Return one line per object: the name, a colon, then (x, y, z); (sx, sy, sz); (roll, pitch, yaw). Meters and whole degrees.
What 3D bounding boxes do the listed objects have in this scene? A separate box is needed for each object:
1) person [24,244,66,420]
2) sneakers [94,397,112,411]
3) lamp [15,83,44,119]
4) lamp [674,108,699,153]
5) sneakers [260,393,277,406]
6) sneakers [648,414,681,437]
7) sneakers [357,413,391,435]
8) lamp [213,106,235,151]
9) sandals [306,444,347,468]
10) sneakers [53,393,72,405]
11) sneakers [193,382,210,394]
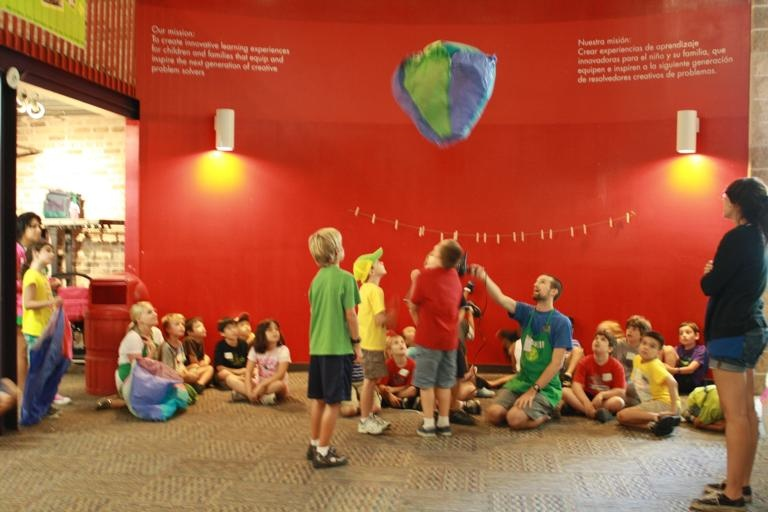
person: (-3.428, 0.712, 6.133); (0.366, 1.727, 0.677); (-7, 13, -31)
sneakers: (-2.881, 1.522, 6.254); (0.082, 0.071, 0.155); (2, 8, 17)
lamp: (-4.372, -1.921, 7.488); (0.247, 0.397, 0.147); (-14, -42, -16)
lamp: (3.678, -1.528, 7.367); (0.253, 0.483, 0.212); (-2, 8, 7)
sneakers: (-1.230, 1.526, 6.523); (0.131, 0.111, 0.111); (1, -35, 9)
sneakers: (2.603, 1.587, 5.655); (0.266, 0.168, 0.091); (-30, 5, 32)
sneakers: (-0.108, 1.580, 5.732); (0.229, 0.119, 0.176); (0, 2, 8)
lamp: (-1.959, -1.558, 7.524); (0.259, 0.523, 0.267); (-3, 12, -16)
sandals: (-0.472, 1.686, 5.108); (0.244, 0.123, 0.188); (1, -3, -14)
sneakers: (-3.353, 1.509, 6.386); (0.189, 0.133, 0.117); (-3, 8, -24)
sneakers: (-2.044, 1.474, 6.790); (0.112, 0.054, 0.135); (2, 3, -2)
